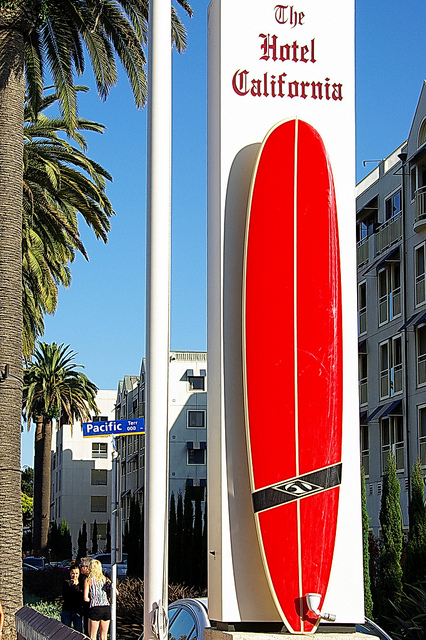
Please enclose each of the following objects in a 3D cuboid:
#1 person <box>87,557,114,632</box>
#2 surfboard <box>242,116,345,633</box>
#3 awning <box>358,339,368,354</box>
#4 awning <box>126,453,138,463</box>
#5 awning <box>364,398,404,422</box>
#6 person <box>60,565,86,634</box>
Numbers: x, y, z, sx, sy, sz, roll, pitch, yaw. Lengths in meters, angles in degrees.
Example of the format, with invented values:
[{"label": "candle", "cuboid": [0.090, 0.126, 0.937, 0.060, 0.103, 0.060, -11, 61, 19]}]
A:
[{"label": "person", "cuboid": [-1.584, 3.882, 14.690, 0.374, 0.981, 1.309, 1, -15, -6]}, {"label": "surfboard", "cuboid": [0.416, 0.223, 5.192, 0.572, 2.564, 0.202, 7, -13, -32]}, {"label": "awning", "cuboid": [5.612, 1.079, 39.244, 0.157, 0.792, 0.708, 4, -1, -10]}, {"label": "awning", "cuboid": [-6.185, 10.573, 79.148, 0.073, 0.291, 3.792, 2, -17, -13]}, {"label": "awning", "cuboid": [5.826, 3.011, 35.438, 0.504, 0.738, 2.480, 2, -17, -9]}, {"label": "person", "cuboid": [-1.910, 3.814, 14.344, 0.300, 0.918, 1.479, 2, -15, -8]}]
